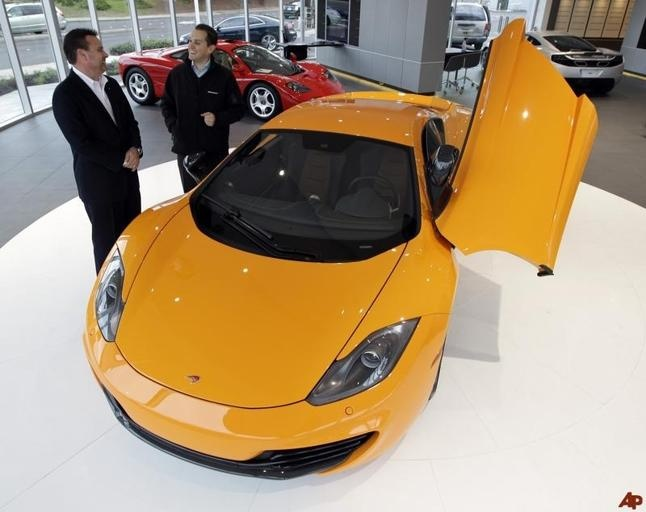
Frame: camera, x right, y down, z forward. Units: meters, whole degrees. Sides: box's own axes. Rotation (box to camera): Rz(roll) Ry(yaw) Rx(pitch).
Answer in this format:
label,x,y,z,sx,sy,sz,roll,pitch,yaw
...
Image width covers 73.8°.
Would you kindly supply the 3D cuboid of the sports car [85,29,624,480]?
label,x,y,z,sx,sy,sz,roll,pitch,yaw
sports car,0.208,0.247,2.965,1.903,1.486,2.964,22,49,21
